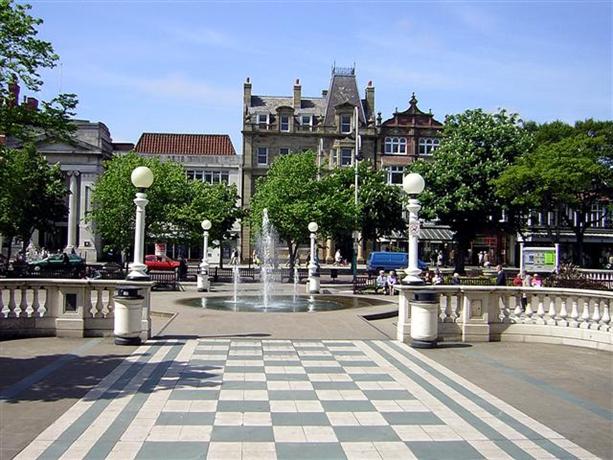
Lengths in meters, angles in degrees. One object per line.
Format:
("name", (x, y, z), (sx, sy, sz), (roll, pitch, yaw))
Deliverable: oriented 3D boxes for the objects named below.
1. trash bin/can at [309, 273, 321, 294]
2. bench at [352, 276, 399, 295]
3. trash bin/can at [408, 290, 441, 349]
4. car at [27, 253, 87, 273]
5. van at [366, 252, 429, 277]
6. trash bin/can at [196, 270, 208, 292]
("trash bin/can", (0.326, 2.310, 28.308), (0.415, 0.853, 0.777), (1, 1, -4))
("bench", (3.019, 2.486, 29.730), (1.755, 0.738, 2.085), (1, 2, 2))
("trash bin/can", (2.794, 2.087, 15.284), (0.622, 1.366, 0.365), (1, 1, 7))
("car", (-15.439, 1.801, 40.857), (3.908, 1.285, 1.688), (1, -5, -4))
("van", (6.295, 2.418, 45.320), (3.910, 1.479, 1.799), (-1, -1, -3))
("trash bin/can", (-4.607, 2.191, 28.694), (0.449, 0.989, 0.817), (1, 1, -10))
